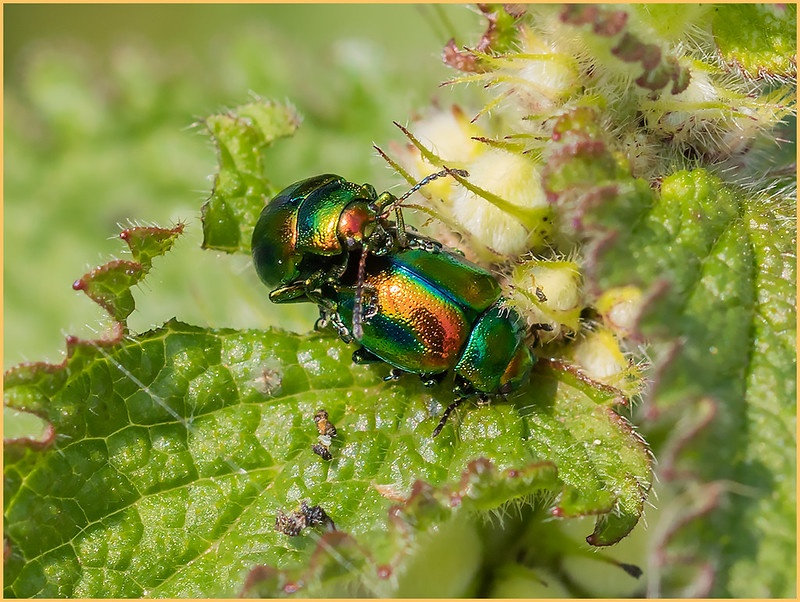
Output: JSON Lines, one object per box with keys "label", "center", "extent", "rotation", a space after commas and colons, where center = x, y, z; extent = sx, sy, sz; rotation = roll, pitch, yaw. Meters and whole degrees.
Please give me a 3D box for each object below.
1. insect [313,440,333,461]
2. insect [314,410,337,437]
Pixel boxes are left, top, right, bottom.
{"label": "insect", "center": [-0.326, 0.634, 3.577], "extent": [0.056, 0.076, 0.025], "rotation": [-44, 8, 11]}
{"label": "insect", "center": [-0.316, 0.533, 3.621], "extent": [0.080, 0.112, 0.038], "rotation": [17, -42, -43]}
